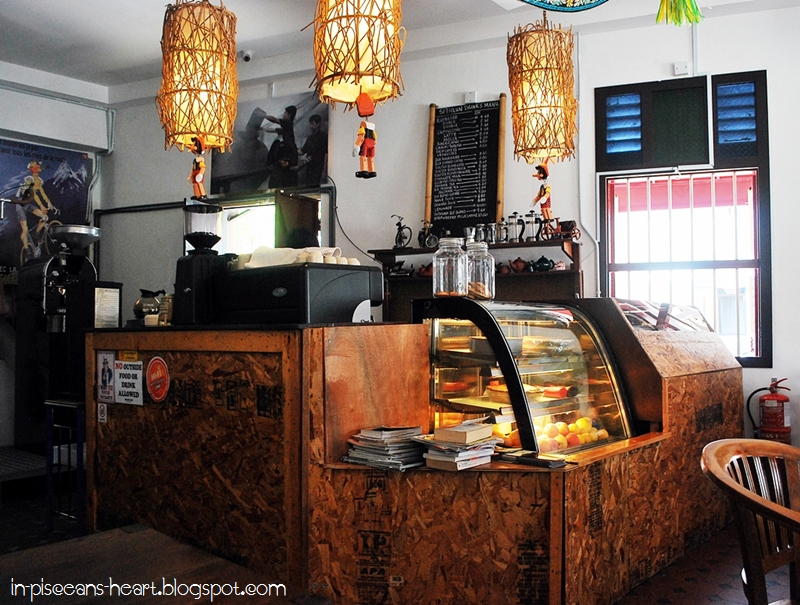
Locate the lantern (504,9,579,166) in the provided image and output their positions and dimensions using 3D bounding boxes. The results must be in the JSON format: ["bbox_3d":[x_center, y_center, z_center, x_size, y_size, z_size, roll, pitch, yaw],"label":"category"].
[{"bbox_3d":[1.006,-1.532,4.442,0.428,1.072,0.406,-6,7,-28],"label":"lantern"}]

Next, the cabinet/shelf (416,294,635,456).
[{"bbox_3d":[0.800,0.454,3.924,0.784,0.906,1.324,-1,-3,37],"label":"cabinet/shelf"}]

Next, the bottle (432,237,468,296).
[{"bbox_3d":[0.312,-0.216,3.908,0.217,0.272,0.359,4,3,3],"label":"bottle"}]

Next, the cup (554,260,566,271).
[{"bbox_3d":[1.479,-0.339,5.935,0.099,0.104,0.072,10,-12,-38],"label":"cup"}]

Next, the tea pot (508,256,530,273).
[{"bbox_3d":[1.122,-0.361,5.958,0.144,0.119,0.120,1,-1,-9],"label":"tea pot"}]

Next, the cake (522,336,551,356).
[{"bbox_3d":[0.772,0.247,3.637,0.058,0.088,0.256,6,4,42],"label":"cake"}]

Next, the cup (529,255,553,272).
[{"bbox_3d":[1.306,-0.349,5.926,0.194,0.145,0.119,-3,3,-12],"label":"cup"}]
